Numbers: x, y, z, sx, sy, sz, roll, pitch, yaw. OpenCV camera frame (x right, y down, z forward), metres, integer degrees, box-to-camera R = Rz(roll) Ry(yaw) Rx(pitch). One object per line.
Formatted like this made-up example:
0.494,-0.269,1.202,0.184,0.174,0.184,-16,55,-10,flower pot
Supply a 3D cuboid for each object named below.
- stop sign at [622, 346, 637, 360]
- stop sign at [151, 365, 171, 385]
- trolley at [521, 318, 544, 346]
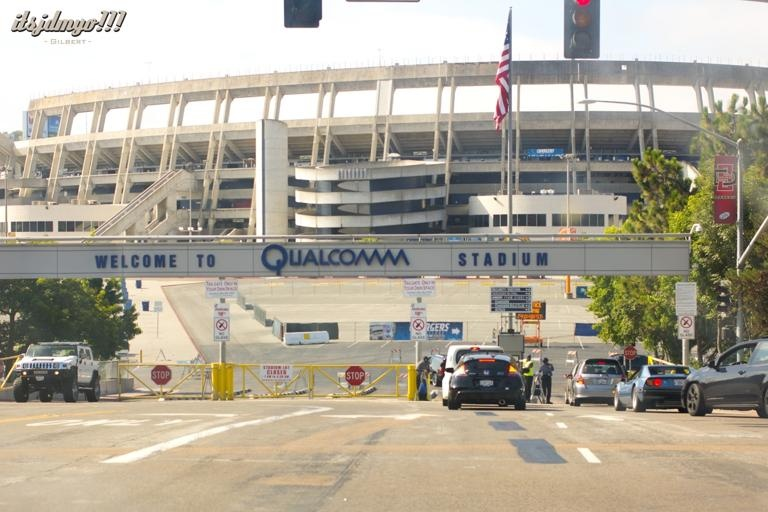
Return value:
17.611,6.966,107.534,1.024,1.051,0.196,4,-10,-19,stop sign
-14.278,7.638,96.456,1.150,1.171,1.540,1,-9,-9,stop sign
12.932,6.663,129.146,2.325,3.014,2.265,1,-2,-2,trolley
